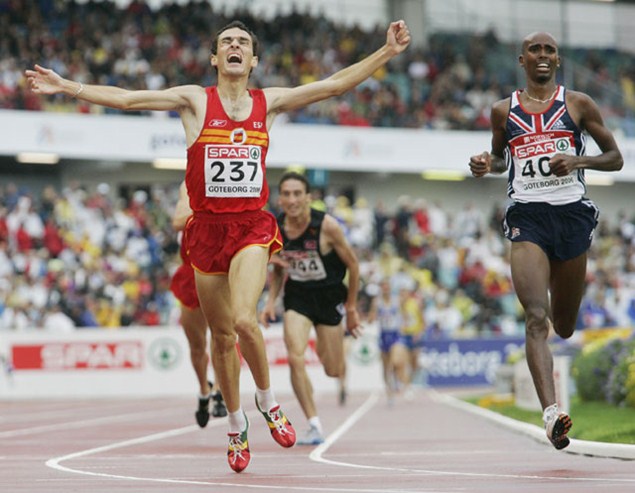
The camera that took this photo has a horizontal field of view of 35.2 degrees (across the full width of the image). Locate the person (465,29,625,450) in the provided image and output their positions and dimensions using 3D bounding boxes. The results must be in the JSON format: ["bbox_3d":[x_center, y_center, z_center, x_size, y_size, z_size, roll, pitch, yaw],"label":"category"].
[{"bbox_3d":[2.019,-0.145,8.921,1.085,3.570,1.237,0,5,29],"label":"person"}]

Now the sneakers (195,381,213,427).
[{"bbox_3d":[-1.286,1.839,11.387,0.172,0.566,0.231,-2,15,-8],"label":"sneakers"}]

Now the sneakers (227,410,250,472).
[{"bbox_3d":[-0.688,1.720,8.854,0.163,0.544,0.203,-2,-3,6],"label":"sneakers"}]

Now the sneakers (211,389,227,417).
[{"bbox_3d":[-1.140,1.844,11.757,0.214,0.296,0.664,-1,3,-6],"label":"sneakers"}]
